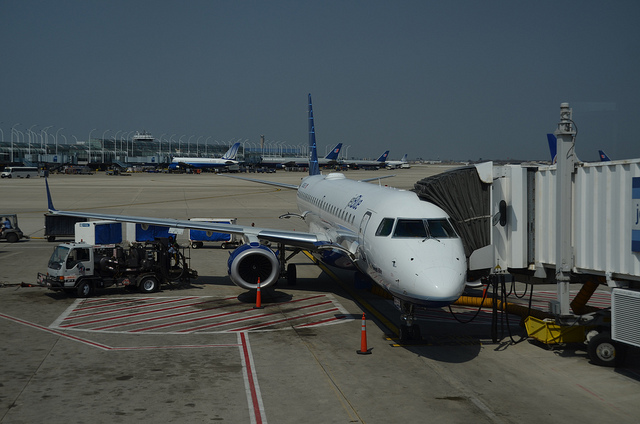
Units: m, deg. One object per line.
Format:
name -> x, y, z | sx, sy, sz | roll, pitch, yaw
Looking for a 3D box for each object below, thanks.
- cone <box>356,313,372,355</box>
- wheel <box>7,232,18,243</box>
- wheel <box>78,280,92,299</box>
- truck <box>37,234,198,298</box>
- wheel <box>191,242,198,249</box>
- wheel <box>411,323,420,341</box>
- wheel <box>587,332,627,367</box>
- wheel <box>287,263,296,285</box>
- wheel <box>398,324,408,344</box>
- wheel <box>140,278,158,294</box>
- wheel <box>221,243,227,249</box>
cone -> 1.793, 4.913, 26.119 | 0.609, 1.611, 0.967 | 1, 10, 2
wheel -> -24.014, 1.961, 50.022 | 1.043, 0.806, 0.330 | -2, 6, -8
wheel -> -12.250, 4.012, 33.309 | 0.373, 0.859, 0.988 | -3, -13, 25
truck -> -10.632, 2.906, 35.626 | 9.058, 2.974, 3.284 | -3, 6, -30
wheel -> -9.610, 2.616, 49.116 | 0.693, 0.536, 0.214 | -1, -5, -2
wheel -> 4.036, 5.161, 27.221 | 0.370, 0.737, 0.838 | -1, 4, -2
wheel -> 11.146, 5.392, 24.836 | 2.060, 1.594, 0.687 | -1, -1, 6
wheel -> -1.651, 3.650, 36.735 | 0.584, 1.186, 1.349 | -2, 1, -2
wheel -> 3.507, 5.231, 27.174 | 0.356, 0.843, 0.960 | -2, 3, -3
wheel -> -9.278, 3.988, 34.532 | 1.068, 0.830, 0.339 | -3, 4, -14
wheel -> -7.400, 2.664, 49.315 | 0.397, 0.345, 0.443 | -23, -10, 7
